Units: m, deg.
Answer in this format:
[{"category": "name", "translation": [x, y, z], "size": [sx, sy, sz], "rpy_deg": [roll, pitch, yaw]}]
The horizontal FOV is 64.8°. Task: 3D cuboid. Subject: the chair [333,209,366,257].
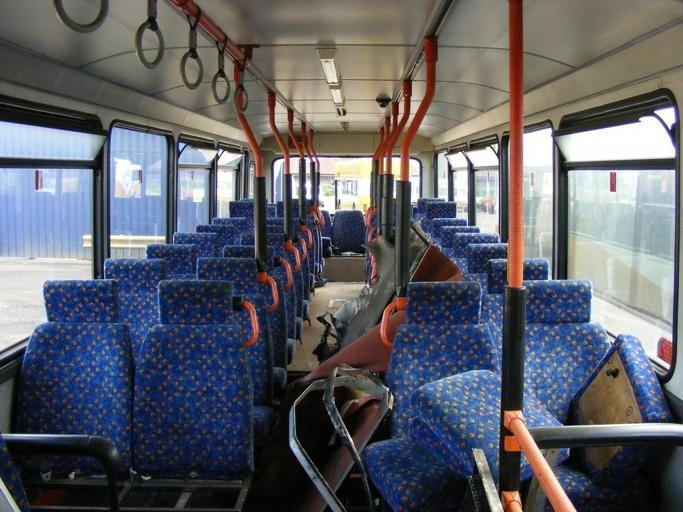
[{"category": "chair", "translation": [0.151, -0.514, 11.483], "size": [0.696, 0.906, 0.509], "rpy_deg": [-1, 5, -2]}]
